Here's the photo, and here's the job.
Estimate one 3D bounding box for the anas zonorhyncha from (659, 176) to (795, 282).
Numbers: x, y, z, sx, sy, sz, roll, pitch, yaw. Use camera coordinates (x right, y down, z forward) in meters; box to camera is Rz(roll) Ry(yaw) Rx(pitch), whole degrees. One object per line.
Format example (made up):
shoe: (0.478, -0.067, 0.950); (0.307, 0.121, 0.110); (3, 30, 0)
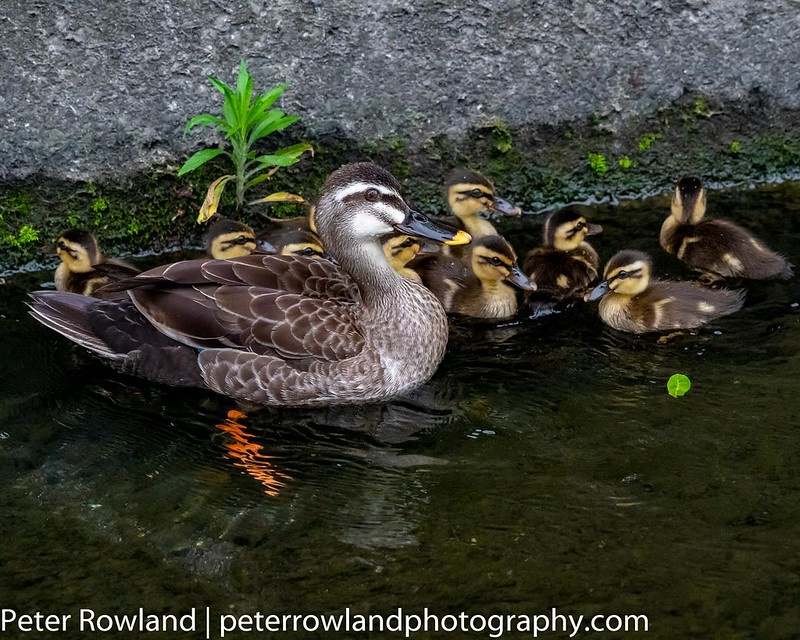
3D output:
anas zonorhyncha: (2.183, -0.594, 5.597); (0.564, 0.539, 1.051); (-30, 40, -35)
